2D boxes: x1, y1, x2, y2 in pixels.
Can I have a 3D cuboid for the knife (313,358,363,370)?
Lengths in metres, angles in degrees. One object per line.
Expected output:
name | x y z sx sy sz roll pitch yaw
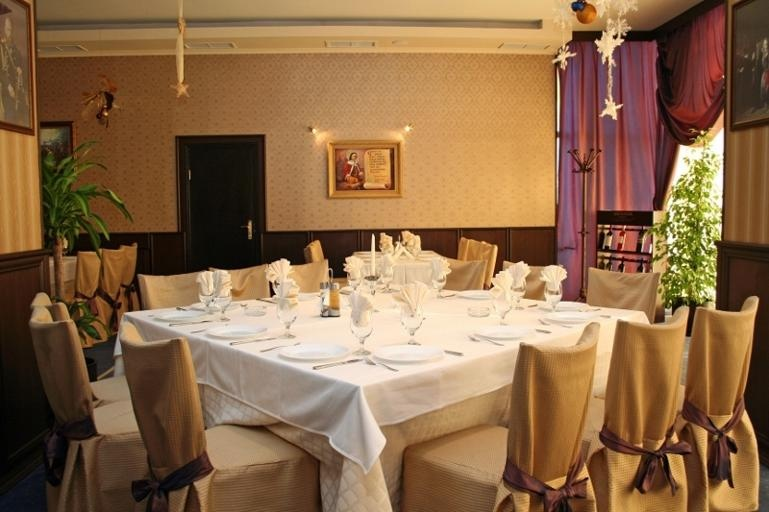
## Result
knife | -0.255 0.576 3.098 0.265 0.024 0.036 1 22 -40
